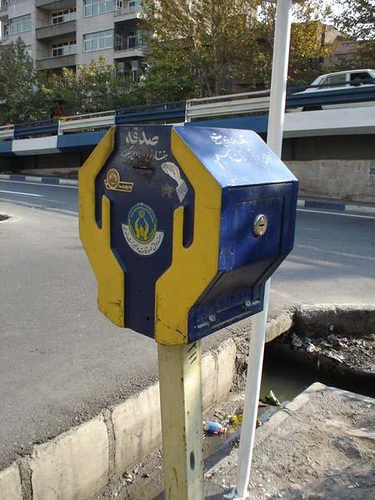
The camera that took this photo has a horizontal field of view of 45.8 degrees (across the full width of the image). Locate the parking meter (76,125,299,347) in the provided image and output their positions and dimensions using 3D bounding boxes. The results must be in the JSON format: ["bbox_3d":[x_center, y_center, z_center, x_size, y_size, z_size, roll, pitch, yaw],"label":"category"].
[{"bbox_3d":[-0.022,-0.066,1.315,0.561,0.586,0.379,14,17,43],"label":"parking meter"}]
